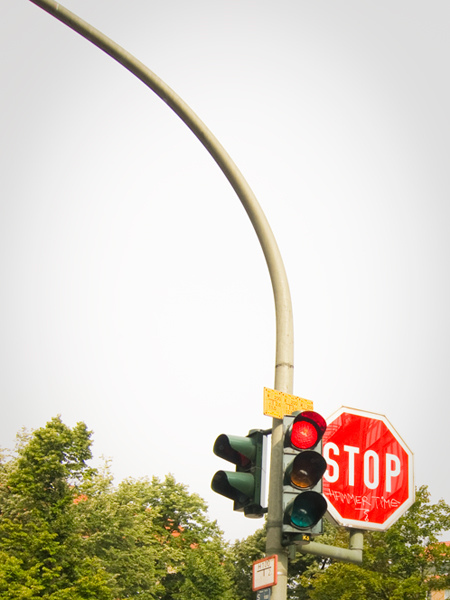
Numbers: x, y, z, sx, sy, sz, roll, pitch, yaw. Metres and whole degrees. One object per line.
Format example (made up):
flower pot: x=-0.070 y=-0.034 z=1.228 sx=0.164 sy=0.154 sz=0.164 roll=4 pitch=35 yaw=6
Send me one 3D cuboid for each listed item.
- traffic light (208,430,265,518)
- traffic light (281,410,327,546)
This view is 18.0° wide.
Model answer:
traffic light: x=0.431 y=4.299 z=35.597 sx=1.189 sy=2.302 sz=0.853 roll=14 pitch=-27 yaw=-25
traffic light: x=1.897 y=4.283 z=35.093 sx=0.991 sy=3.371 sz=1.159 roll=-1 pitch=-7 yaw=24
